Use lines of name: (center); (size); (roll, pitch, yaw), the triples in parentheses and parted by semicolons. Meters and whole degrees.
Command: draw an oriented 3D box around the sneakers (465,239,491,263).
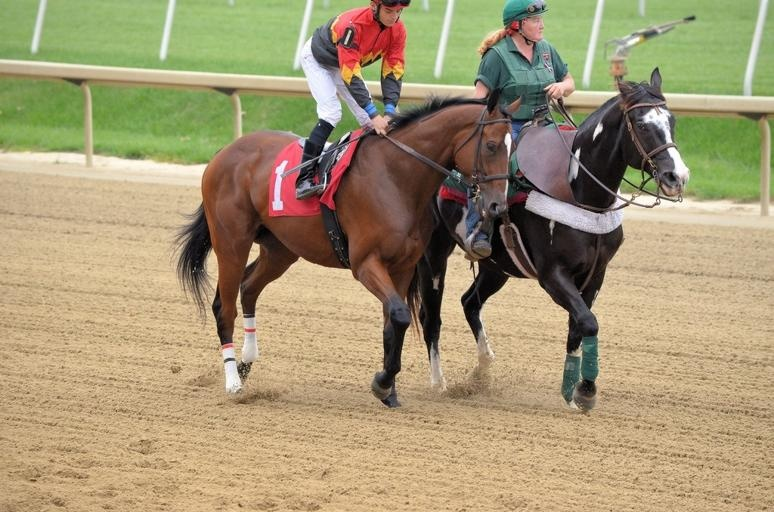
sneakers: (0.786, -0.050, 9.807); (0.136, 0.107, 0.245); (1, -24, -5)

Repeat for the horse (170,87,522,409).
horse: (-0.549, 0.007, 10.126); (3.981, 2.776, 1.106); (2, 1, 39)

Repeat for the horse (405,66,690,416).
horse: (1.323, 0.031, 10.483); (1.058, 2.794, 3.914); (3, -4, -26)
